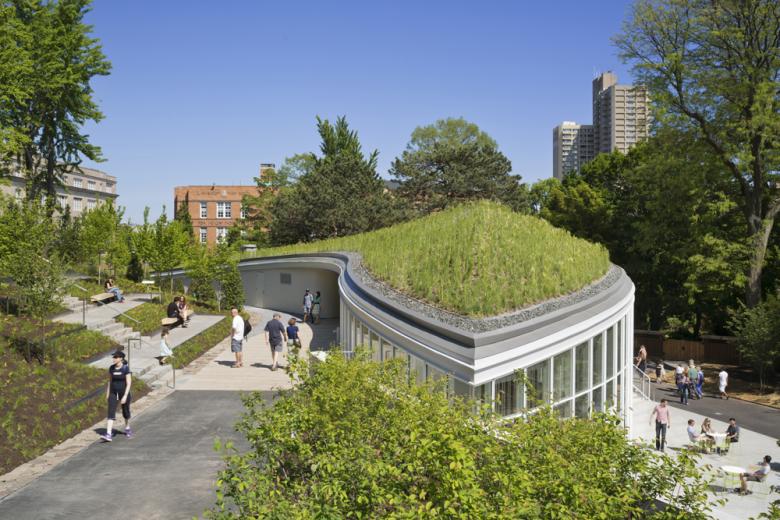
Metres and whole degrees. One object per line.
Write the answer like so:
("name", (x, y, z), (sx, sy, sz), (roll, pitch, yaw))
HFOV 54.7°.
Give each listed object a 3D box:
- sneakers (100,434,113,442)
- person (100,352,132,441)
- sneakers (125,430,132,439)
("sneakers", (-9.855, 6.201, 26.135), (0.227, 0.197, 0.478), (-3, 6, -42))
("person", (-9.711, 4.758, 26.764), (0.902, 3.069, 1.405), (0, 3, -19))
("sneakers", (-9.195, 6.119, 26.421), (0.134, 0.189, 0.416), (3, -3, -10))
